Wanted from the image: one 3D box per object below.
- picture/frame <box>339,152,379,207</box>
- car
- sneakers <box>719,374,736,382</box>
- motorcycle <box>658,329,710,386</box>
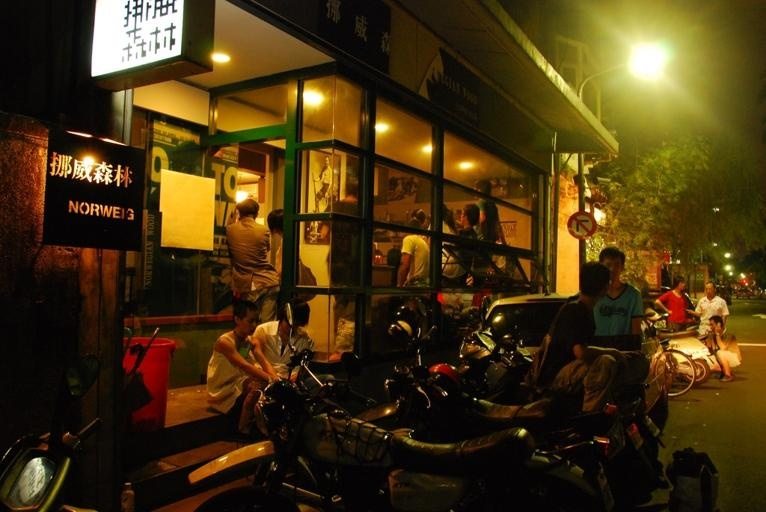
[{"bbox_3d":[-0.377,-1.136,9.053,0.106,1.122,0.791,1,-2,37],"label":"picture/frame"},{"bbox_3d":[1.968,1.069,8.118,1.640,1.483,2.826,-2,-3,16],"label":"car"},{"bbox_3d":[7.403,2.625,13.138,0.180,0.148,0.388,-18,-19,29],"label":"sneakers"},{"bbox_3d":[6.189,1.989,12.219,1.462,0.948,0.779,-2,-3,23],"label":"motorcycle"}]
